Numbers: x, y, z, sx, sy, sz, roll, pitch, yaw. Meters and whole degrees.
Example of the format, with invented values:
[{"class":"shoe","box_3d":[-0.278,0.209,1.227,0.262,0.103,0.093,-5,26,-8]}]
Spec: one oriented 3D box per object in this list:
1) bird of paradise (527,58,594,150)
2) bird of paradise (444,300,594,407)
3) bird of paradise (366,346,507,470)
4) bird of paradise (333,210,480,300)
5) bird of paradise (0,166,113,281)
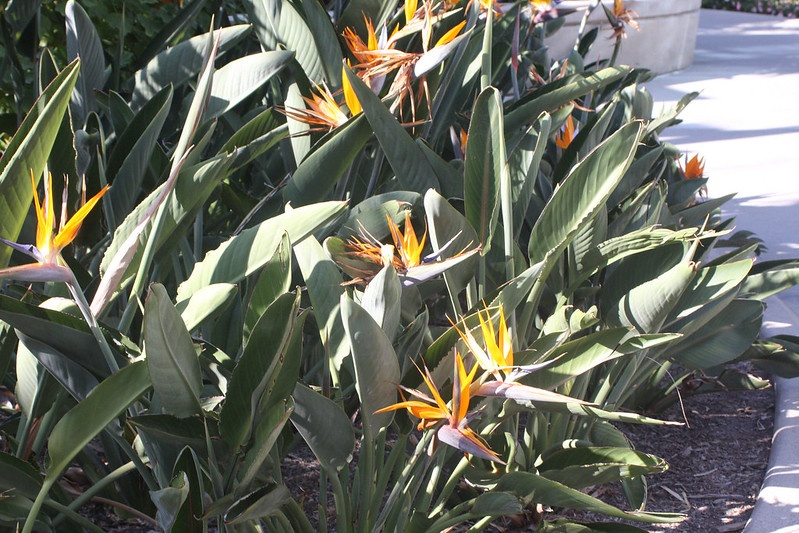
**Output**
[{"class":"bird of paradise","box_3d":[0.647,-0.674,3.363,0.099,0.415,0.217,-8,-6,-30]},{"class":"bird of paradise","box_3d":[0.268,0.259,2.158,0.241,0.145,0.285,-2,-21,7]},{"class":"bird of paradise","box_3d":[0.120,0.376,2.116,0.278,0.306,0.269,27,12,3]},{"class":"bird of paradise","box_3d":[-0.017,-0.030,2.351,0.261,0.144,0.263,-33,11,-9]},{"class":"bird of paradise","box_3d":[-0.842,-0.039,2.104,0.248,0.322,0.272,3,-10,-22]}]
